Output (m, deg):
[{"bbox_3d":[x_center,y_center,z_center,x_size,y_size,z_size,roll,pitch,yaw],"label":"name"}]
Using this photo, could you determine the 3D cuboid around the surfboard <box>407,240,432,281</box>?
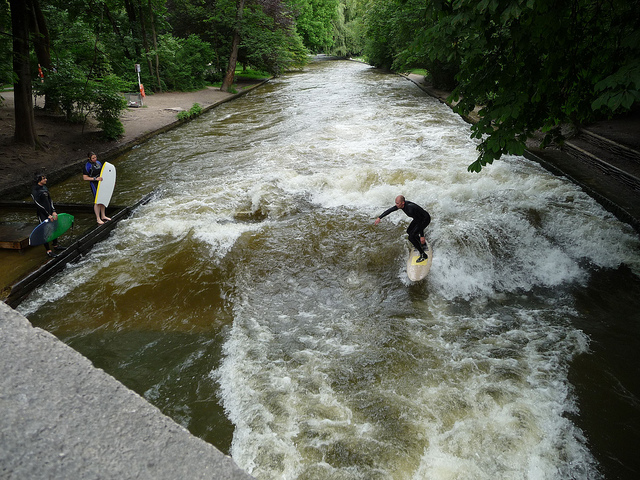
[{"bbox_3d":[2.283,0.467,10.230,0.540,0.234,1.731,9,35,17],"label":"surfboard"}]

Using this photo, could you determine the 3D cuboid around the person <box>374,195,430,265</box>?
[{"bbox_3d":[2.009,-0.189,10.847,1.289,1.714,0.629,-11,43,11],"label":"person"}]

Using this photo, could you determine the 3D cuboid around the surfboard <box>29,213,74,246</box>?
[{"bbox_3d":[-5.957,-0.209,9.816,0.460,1.250,0.141,35,28,-40],"label":"surfboard"}]

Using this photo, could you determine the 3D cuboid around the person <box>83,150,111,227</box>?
[{"bbox_3d":[-5.716,-1.321,11.459,0.432,1.857,1.299,-12,37,-24],"label":"person"}]
